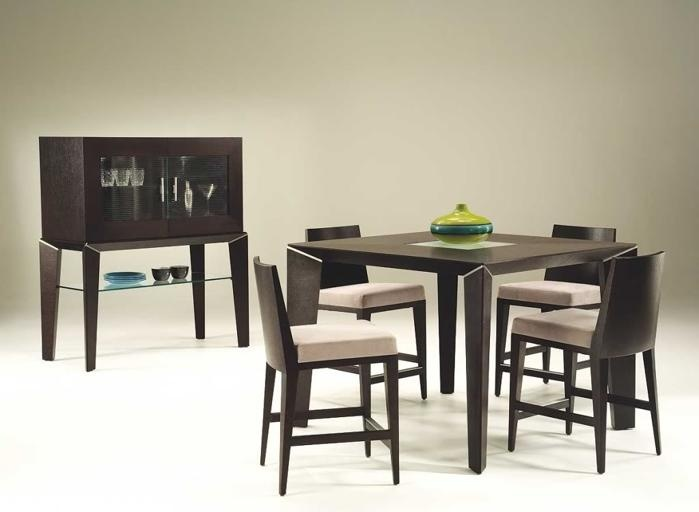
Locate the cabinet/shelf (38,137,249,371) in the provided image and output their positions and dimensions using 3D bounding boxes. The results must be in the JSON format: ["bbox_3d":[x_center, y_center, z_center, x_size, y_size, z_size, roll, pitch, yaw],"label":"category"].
[{"bbox_3d":[-1.500,-0.067,4.669,1.521,1.619,0.641,-5,10,-26],"label":"cabinet/shelf"}]

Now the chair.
[{"bbox_3d":[0.530,0.403,3.046,1.394,0.686,1.381,-3,3,-39],"label":"chair"}]

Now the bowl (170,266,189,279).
[{"bbox_3d":[-1.306,0.130,4.815,0.110,0.072,0.110,0,-2,0],"label":"bowl"}]

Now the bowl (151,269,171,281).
[{"bbox_3d":[-1.419,0.146,4.711,0.104,0.068,0.104,0,-2,0],"label":"bowl"}]

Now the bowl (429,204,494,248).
[{"bbox_3d":[0.608,-0.175,3.521,0.274,0.153,0.249,-3,6,-24],"label":"bowl"}]
